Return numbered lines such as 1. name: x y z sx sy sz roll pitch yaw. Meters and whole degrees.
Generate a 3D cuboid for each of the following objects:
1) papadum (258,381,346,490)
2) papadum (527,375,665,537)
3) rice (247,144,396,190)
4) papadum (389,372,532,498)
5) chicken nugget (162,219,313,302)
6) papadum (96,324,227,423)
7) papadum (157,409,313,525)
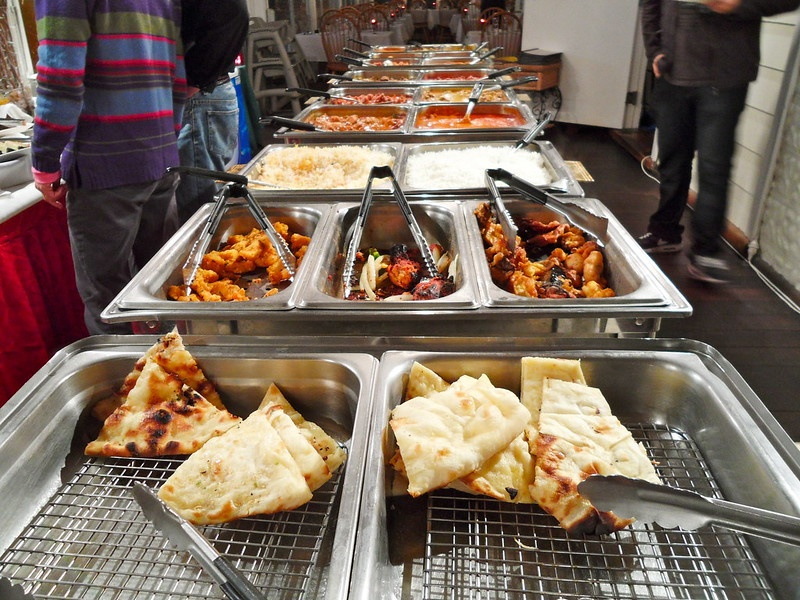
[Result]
1. papadum: -0.248 0.309 1.105 0.208 0.069 0.167 47 36 11
2. papadum: 0.380 0.312 1.016 0.218 0.072 0.299 1 41 -3
3. rice: -0.407 -0.645 2.461 0.584 0.156 0.390 1 36 6
4. papadum: 0.104 0.272 1.040 0.307 0.086 0.186 -18 34 -25
5. chicken nugget: -0.573 -0.118 1.761 0.284 0.059 0.383 20 38 22
6. papadum: -0.569 0.208 1.136 0.268 0.066 0.232 9 64 -6
7. papadum: -0.350 0.352 1.011 0.279 0.107 0.223 -12 32 -16
